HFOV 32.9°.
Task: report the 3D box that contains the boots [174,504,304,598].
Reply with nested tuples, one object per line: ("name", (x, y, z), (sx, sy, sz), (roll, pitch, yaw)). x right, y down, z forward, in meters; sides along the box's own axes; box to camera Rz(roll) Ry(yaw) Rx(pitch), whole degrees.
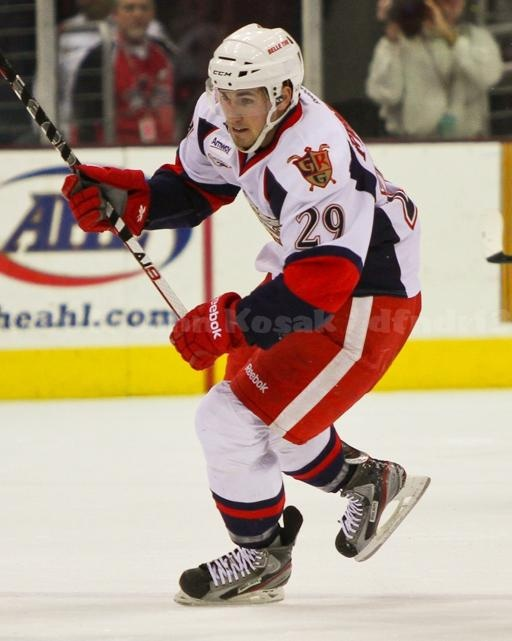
("boots", (-0.035, 0.543, 1.934), (0.342, 0.182, 0.105), (2, -1, -7))

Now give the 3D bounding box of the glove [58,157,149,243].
("glove", (-0.338, -0.292, 2.069), (0.199, 0.243, 0.103), (11, 63, 14))

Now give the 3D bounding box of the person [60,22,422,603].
("person", (0.002, -0.011, 1.949), (0.693, 1.239, 0.505), (5, 8, 34))

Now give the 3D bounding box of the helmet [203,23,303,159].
("helmet", (0.005, -0.494, 1.795), (0.222, 0.216, 0.174), (-16, 34, -22))

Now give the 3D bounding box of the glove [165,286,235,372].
("glove", (-0.106, 0.023, 1.819), (0.141, 0.160, 0.062), (0, 7, -3))

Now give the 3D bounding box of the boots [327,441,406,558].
("boots", (0.270, 0.455, 2.128), (0.225, 0.261, 0.097), (15, 15, -38))
